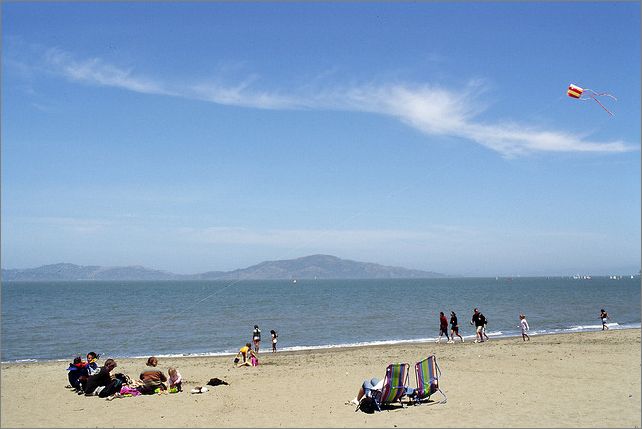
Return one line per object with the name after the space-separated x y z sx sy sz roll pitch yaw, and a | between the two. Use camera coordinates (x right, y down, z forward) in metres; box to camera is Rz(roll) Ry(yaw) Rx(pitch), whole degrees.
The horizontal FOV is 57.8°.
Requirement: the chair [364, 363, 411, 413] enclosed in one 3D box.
2.806 6.977 23.655 1.796 1.881 1.028 1 -5 -10 | chair

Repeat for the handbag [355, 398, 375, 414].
1.894 7.838 23.772 0.680 0.198 0.652 -6 17 -34 | handbag

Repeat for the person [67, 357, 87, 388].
-10.890 7.018 26.129 0.969 1.241 0.527 5 -1 9 | person

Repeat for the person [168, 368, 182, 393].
-6.477 7.316 25.778 0.580 0.941 0.668 2 -6 -14 | person

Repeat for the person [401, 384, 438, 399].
4.140 7.333 24.085 0.729 0.452 0.991 -9 -34 -11 | person

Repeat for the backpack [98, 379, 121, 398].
-9.062 7.477 24.990 0.905 0.741 0.412 2 -6 -20 | backpack
